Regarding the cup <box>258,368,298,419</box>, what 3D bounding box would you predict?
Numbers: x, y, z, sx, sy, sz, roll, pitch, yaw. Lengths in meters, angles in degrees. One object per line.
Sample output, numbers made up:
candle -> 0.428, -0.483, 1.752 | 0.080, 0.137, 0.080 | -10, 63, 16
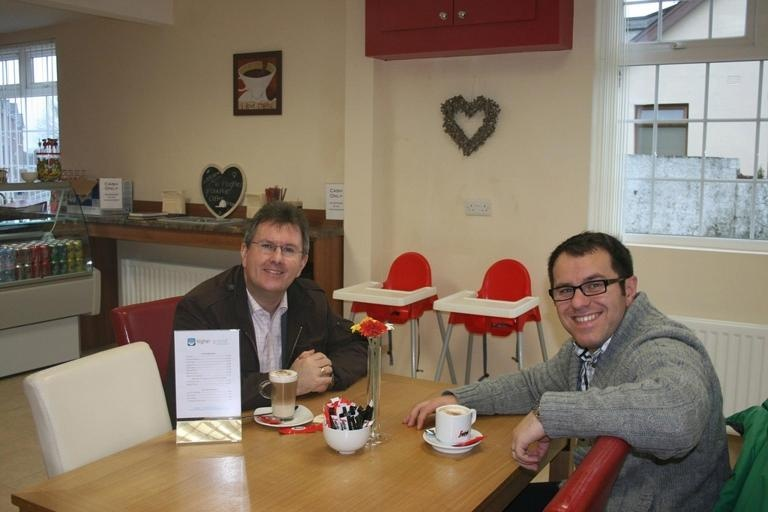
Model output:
cup -> -0.345, 0.479, 1.905 | 0.157, 0.162, 0.105 | 1, 7, 11

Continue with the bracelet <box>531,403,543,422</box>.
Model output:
bracelet -> 0.497, 0.505, 1.769 | 0.020, 0.055, 0.040 | 6, -9, -6

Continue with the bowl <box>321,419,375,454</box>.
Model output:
bowl -> -0.122, 0.572, 1.742 | 0.106, 0.062, 0.108 | 1, 3, 0

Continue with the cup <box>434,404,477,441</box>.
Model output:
cup -> 0.243, 0.559, 1.847 | 0.080, 0.087, 0.126 | 0, -2, 30

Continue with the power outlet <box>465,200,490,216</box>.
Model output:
power outlet -> 0.714, -0.365, 4.136 | 0.192, 0.125, 0.041 | 0, 9, 11

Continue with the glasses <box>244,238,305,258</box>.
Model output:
glasses -> -0.444, -0.034, 2.262 | 0.198, 0.068, 0.073 | -3, 9, -11

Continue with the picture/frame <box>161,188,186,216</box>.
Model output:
picture/frame -> -2.004, -0.523, 5.238 | 0.295, 0.299, 0.203 | 6, 9, 24

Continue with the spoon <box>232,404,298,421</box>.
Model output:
spoon -> -0.418, 0.569, 1.950 | 0.136, 0.024, 0.090 | 1, 13, 6

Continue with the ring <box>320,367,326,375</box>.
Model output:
ring -> -0.231, 0.438, 2.091 | 0.019, 0.026, 0.008 | 1, -1, -21
